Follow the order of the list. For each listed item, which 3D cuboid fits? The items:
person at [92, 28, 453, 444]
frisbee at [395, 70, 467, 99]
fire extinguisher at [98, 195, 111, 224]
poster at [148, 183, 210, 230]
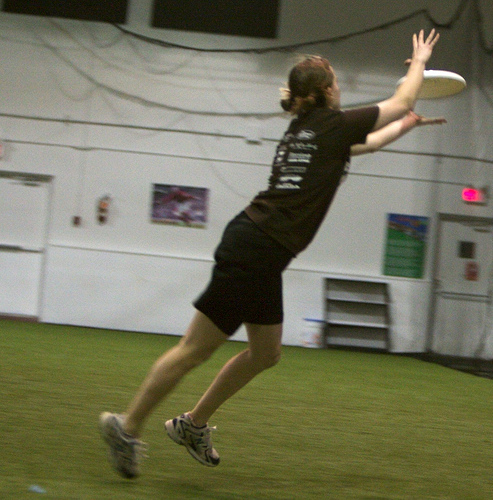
[{"bbox_3d":[0.157,-0.086,6.104,1.370,2.920,0.489,10,12,-33],"label":"person"},{"bbox_3d":[1.335,-1.191,6.774,0.546,0.075,0.495,5,-8,-37],"label":"frisbee"},{"bbox_3d":[-1.712,-0.483,11.293,0.152,0.284,0.137,5,8,-5],"label":"fire extinguisher"},{"bbox_3d":[-0.803,-0.536,11.358,0.773,0.528,0.129,9,10,-5],"label":"poster"}]
